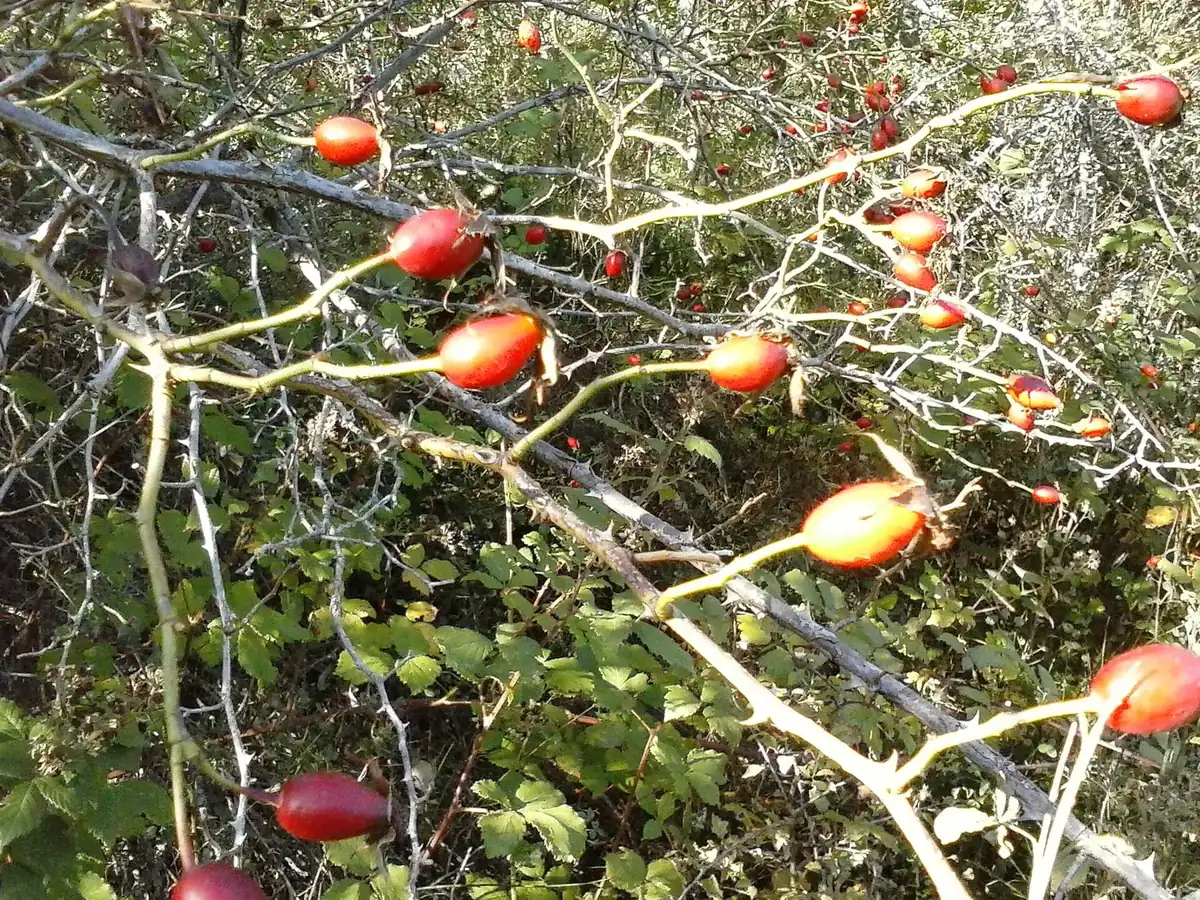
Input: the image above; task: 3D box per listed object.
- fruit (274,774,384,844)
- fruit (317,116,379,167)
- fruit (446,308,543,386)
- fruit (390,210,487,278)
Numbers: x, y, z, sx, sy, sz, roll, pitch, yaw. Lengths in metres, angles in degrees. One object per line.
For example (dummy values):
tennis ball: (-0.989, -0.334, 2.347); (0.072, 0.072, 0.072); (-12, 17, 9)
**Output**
fruit: (-0.483, 0.636, 1.963); (0.206, 0.108, 0.102); (4, 16, -6)
fruit: (-0.614, -0.743, 2.663); (0.145, 0.104, 0.102); (-4, -14, -10)
fruit: (-0.216, -0.196, 2.207); (0.181, 0.114, 0.109); (-16, -8, -5)
fruit: (-0.334, -0.420, 2.256); (0.193, 0.142, 0.126); (-2, 6, -6)
